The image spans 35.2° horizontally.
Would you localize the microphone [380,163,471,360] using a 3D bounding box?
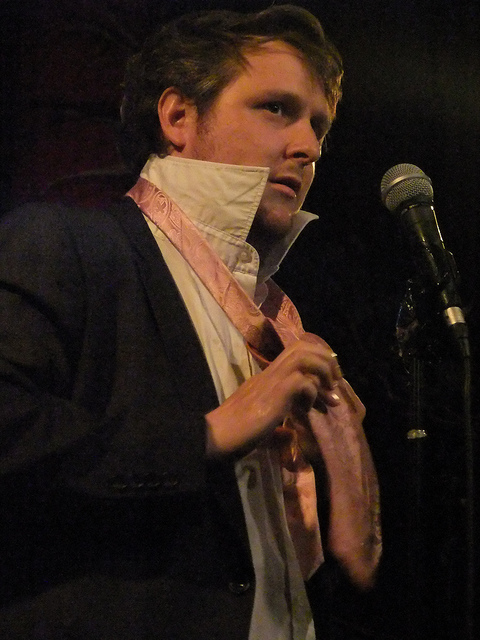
[{"bbox_3d":[0.369,-0.124,1.464,0.092,0.395,0.205,-9,0,-9],"label":"microphone"}]
